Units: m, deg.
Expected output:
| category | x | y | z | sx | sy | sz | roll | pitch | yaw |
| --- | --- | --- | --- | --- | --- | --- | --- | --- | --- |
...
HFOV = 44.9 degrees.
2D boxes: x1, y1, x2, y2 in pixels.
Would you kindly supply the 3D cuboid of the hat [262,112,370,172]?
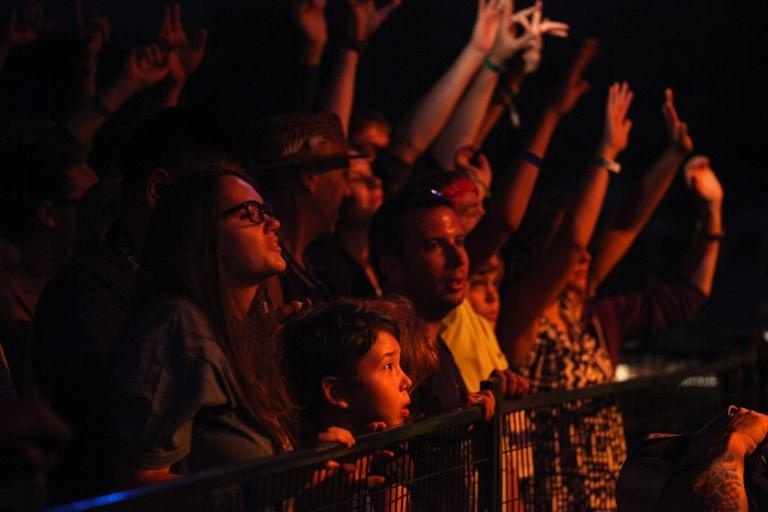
| category | x | y | z | sx | sy | sz | roll | pitch | yaw |
| --- | --- | --- | --- | --- | --- | --- | --- | --- | --- |
| hat | -0.434 | -0.643 | 5.394 | 0.636 | 0.428 | 0.117 | 11 | -23 | -28 |
